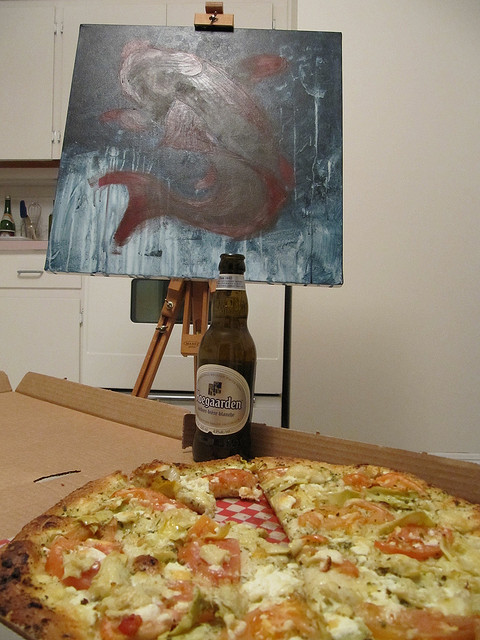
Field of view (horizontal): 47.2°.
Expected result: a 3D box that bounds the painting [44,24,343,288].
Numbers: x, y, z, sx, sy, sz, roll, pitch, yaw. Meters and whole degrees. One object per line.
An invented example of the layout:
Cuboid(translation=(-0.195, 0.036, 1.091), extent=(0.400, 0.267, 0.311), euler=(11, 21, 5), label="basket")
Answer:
Cuboid(translation=(-0.078, -0.346, 1.149), extent=(0.622, 0.539, 0.067), euler=(3, -14, 0), label="painting")

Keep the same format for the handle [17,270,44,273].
Cuboid(translation=(-0.993, -0.230, 2.592), extent=(0.116, 0.012, 0.014), euler=(1, 7, 5), label="handle")

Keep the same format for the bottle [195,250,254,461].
Cuboid(translation=(-0.023, 0.059, 0.819), extent=(0.088, 0.312, 0.159), euler=(0, 7, 1), label="bottle")
